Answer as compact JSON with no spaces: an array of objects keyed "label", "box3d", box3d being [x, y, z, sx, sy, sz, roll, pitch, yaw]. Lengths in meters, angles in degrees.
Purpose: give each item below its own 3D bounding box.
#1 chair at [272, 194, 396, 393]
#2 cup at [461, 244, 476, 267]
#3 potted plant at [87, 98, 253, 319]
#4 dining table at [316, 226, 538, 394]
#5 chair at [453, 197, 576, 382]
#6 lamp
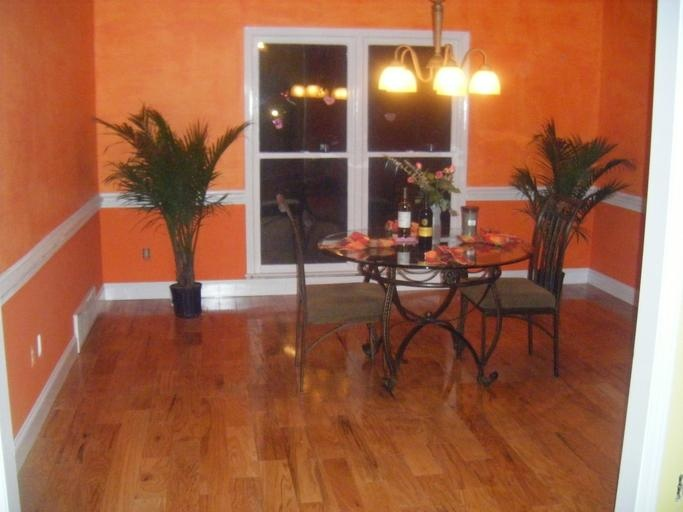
[{"label":"chair","box3d":[-0.034,0.221,4.140,0.886,1.299,0.755,-3,8,-16]},{"label":"cup","box3d":[0.800,-0.004,3.739,0.070,0.078,0.254,11,16,-1]},{"label":"potted plant","box3d":[-1.466,-0.508,5.989,1.562,2.244,1.940,12,19,35]},{"label":"dining table","box3d":[0.536,0.197,4.153,1.121,0.773,1.156,-3,12,-9]},{"label":"chair","box3d":[1.255,0.227,4.291,0.715,1.218,0.654,1,9,6]},{"label":"lamp","box3d":[0.794,-1.788,4.996,1.064,0.889,1.051,-13,24,-33]}]
